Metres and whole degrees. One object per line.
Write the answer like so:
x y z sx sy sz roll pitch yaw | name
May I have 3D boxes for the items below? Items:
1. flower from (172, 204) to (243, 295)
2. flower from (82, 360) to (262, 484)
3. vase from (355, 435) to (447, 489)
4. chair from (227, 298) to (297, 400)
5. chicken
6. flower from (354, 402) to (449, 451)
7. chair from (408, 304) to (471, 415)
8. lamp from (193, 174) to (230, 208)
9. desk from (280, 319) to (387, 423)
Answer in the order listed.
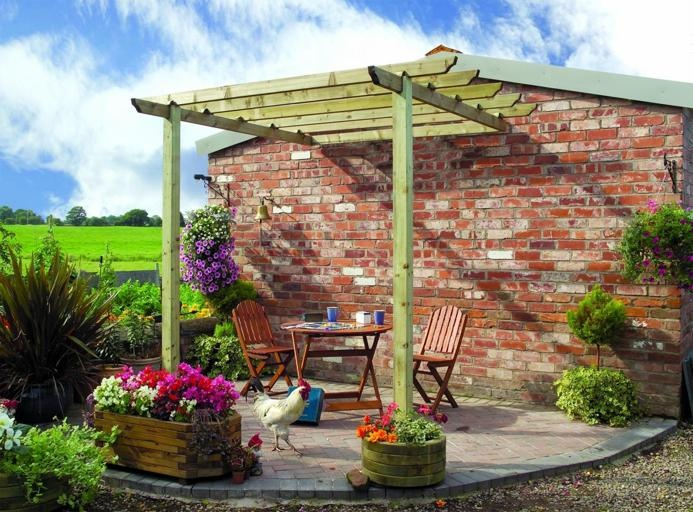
-2.207 -0.115 9.476 0.932 1.329 0.773 2 3 -29 | flower
-1.645 1.532 5.714 1.399 0.978 0.505 5 11 19 | flower
0.519 1.841 5.429 0.692 0.414 0.214 1 10 -4 | vase
-1.123 1.193 8.289 0.978 1.324 0.902 -1 -4 26 | chair
-0.667 1.580 6.056 0.773 0.682 0.392 -2 -4 38 | chicken
0.497 1.600 5.972 1.164 0.445 0.888 2 3 -1 | flower
1.033 1.289 7.682 0.817 1.221 0.721 0 0 -44 | chair
-2.216 -1.076 9.934 0.533 0.502 0.573 -6 12 -38 | lamp
-0.079 1.392 7.801 1.365 1.193 1.228 1 2 7 | desk
